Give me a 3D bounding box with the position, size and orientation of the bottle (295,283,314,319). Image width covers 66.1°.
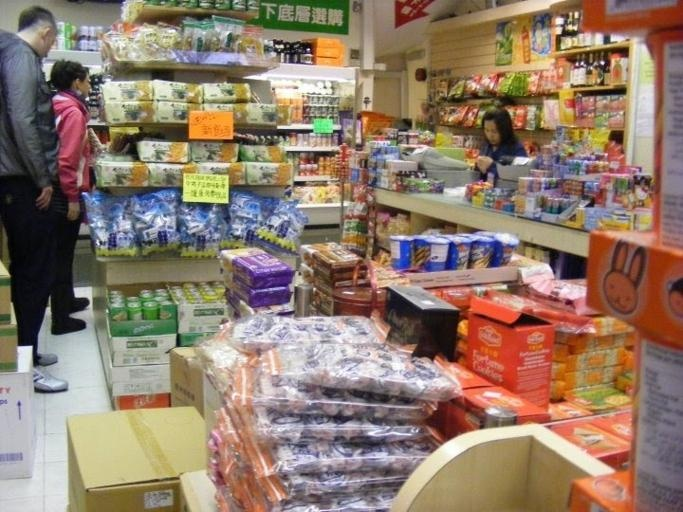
[{"bbox_3d":[-0.142,0.177,2.018,0.074,0.138,0.218,-4,12,-4],"label":"bottle"}]
